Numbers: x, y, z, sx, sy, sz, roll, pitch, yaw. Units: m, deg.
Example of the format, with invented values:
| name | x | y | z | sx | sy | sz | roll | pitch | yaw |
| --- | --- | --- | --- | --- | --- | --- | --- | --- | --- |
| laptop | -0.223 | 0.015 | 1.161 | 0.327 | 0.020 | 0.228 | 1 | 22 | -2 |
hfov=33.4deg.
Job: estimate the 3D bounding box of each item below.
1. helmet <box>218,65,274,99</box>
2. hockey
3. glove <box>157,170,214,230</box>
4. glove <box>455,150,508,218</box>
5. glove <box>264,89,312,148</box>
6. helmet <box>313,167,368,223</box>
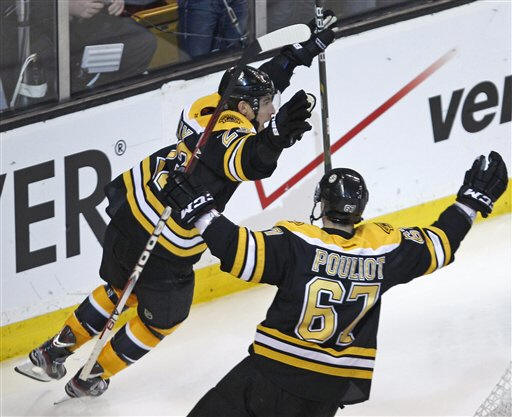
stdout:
| name | x | y | z | sx | sy | sz | roll | pitch | yaw |
| --- | --- | --- | --- | --- | --- | --- | --- | --- | --- |
| helmet | -0.049 | -0.638 | 4.317 | 0.228 | 0.184 | 0.170 | 14 | 18 | 6 |
| hockey | -0.399 | -0.040 | 4.591 | 0.339 | 2.299 | 0.251 | 20 | 14 | -37 |
| glove | -0.301 | -0.031 | 3.760 | 0.273 | 0.192 | 0.105 | 50 | -10 | 14 |
| glove | 1.048 | -0.073 | 3.985 | 0.205 | 0.322 | 0.127 | 31 | -11 | 18 |
| glove | 0.169 | -0.392 | 3.895 | 0.126 | 0.268 | 0.186 | 18 | 39 | -55 |
| helmet | 0.373 | -0.025 | 3.962 | 0.201 | 0.224 | 0.262 | 9 | -27 | -7 |
